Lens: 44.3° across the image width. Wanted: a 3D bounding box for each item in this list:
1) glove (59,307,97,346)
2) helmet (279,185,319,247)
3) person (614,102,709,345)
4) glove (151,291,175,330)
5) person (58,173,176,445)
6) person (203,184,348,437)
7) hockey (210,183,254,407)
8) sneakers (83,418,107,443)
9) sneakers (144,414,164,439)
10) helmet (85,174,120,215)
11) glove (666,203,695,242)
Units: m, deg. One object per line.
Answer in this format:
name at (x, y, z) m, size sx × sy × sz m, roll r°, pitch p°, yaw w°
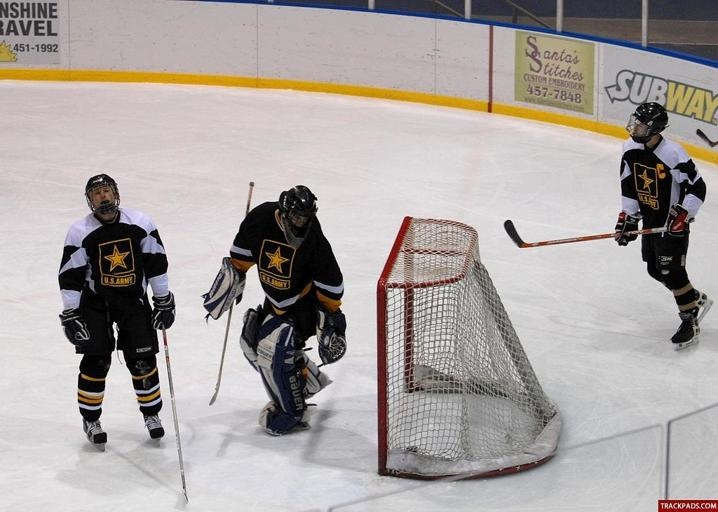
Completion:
glove at (-1.677, 0.414, 5.161) m, size 0.178 × 0.208 × 0.102 m, roll -3°, pitch -9°, yaw -8°
helmet at (-0.361, -0.233, 5.147) m, size 0.214 × 0.344 × 0.229 m, roll -1°, pitch 14°, yaw -6°
person at (2.217, -0.226, 6.457) m, size 0.709 × 1.744 × 0.387 m, roll 7°, pitch 17°, yaw 25°
glove at (-1.174, 0.332, 5.421) m, size 0.181 × 0.201 × 0.096 m, roll 0°, pitch 4°, yaw 23°
person at (-1.450, 0.329, 5.308) m, size 0.659 × 1.627 × 0.404 m, roll -3°, pitch 15°, yaw -12°
person at (-0.508, 0.387, 5.440) m, size 0.850 × 1.441 × 0.316 m, roll 1°, pitch 15°, yaw 3°
hockey at (-0.929, 0.332, 6.411) m, size 0.092 × 1.762 × 0.203 m, roll 18°, pitch -12°, yaw -26°
sneakers at (-1.621, 1.058, 5.351) m, size 0.081 × 0.092 × 0.248 m, roll -4°, pitch 9°, yaw -31°
sneakers at (-1.259, 1.028, 5.449) m, size 0.081 × 0.076 × 0.202 m, roll -20°, pitch 39°, yaw -18°
helmet at (-1.519, -0.358, 5.235) m, size 0.222 × 0.230 × 0.250 m, roll -9°, pitch -1°, yaw -11°
glove at (2.282, -0.238, 6.314) m, size 0.176 × 0.242 × 0.117 m, roll 4°, pitch 15°, yaw 16°
